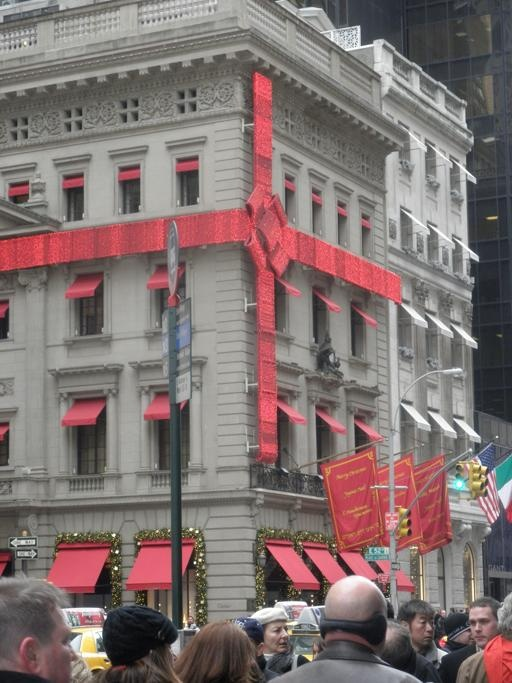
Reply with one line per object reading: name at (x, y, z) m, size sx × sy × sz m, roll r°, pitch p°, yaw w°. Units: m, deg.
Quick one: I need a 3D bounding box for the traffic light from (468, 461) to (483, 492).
traffic light at (5.761, 3.597, 53.794) m, size 0.327 × 0.851 × 0.914 m, roll -1°, pitch -2°, yaw 14°

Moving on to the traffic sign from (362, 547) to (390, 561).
traffic sign at (3.332, 5.873, 56.341) m, size 0.579 × 0.396 × 1.063 m, roll -1°, pitch -13°, yaw -4°

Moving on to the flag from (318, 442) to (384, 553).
flag at (2.731, 4.444, 57.732) m, size 1.710 × 2.754 × 1.208 m, roll 0°, pitch -12°, yaw -8°

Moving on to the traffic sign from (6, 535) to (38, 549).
traffic sign at (-5.097, 4.476, 44.922) m, size 0.534 × 0.334 × 0.891 m, roll 0°, pitch -13°, yaw -10°
